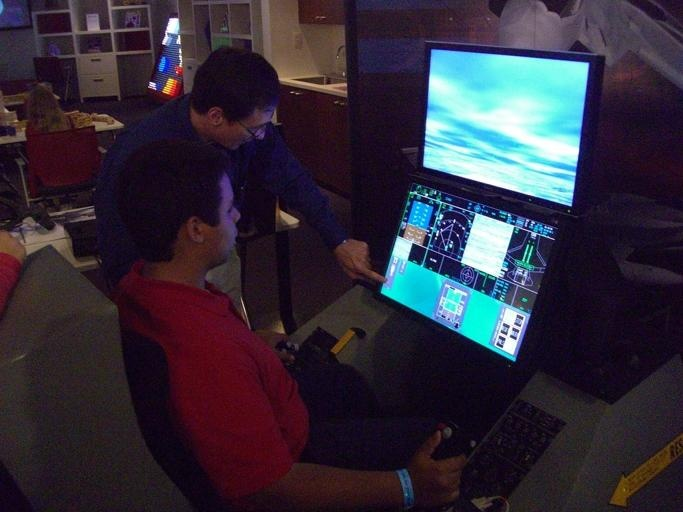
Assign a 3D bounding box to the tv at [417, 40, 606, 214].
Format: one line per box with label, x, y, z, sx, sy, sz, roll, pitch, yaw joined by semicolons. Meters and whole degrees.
tv;0.472;-0.366;1.553;0.507;0.386;0.068;20;30;36
